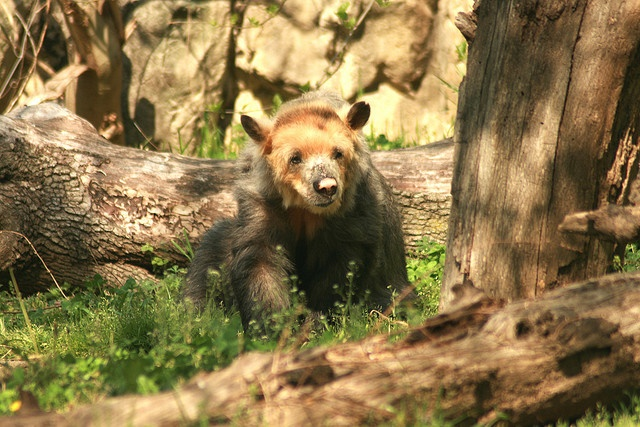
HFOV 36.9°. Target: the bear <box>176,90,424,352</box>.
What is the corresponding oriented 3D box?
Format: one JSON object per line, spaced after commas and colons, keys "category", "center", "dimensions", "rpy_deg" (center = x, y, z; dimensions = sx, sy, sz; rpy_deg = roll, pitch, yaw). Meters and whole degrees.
{"category": "bear", "center": [-0.031, 0.002, 9.695], "dimensions": [1.711, 2.384, 0.884], "rpy_deg": [4, 4, 0]}
